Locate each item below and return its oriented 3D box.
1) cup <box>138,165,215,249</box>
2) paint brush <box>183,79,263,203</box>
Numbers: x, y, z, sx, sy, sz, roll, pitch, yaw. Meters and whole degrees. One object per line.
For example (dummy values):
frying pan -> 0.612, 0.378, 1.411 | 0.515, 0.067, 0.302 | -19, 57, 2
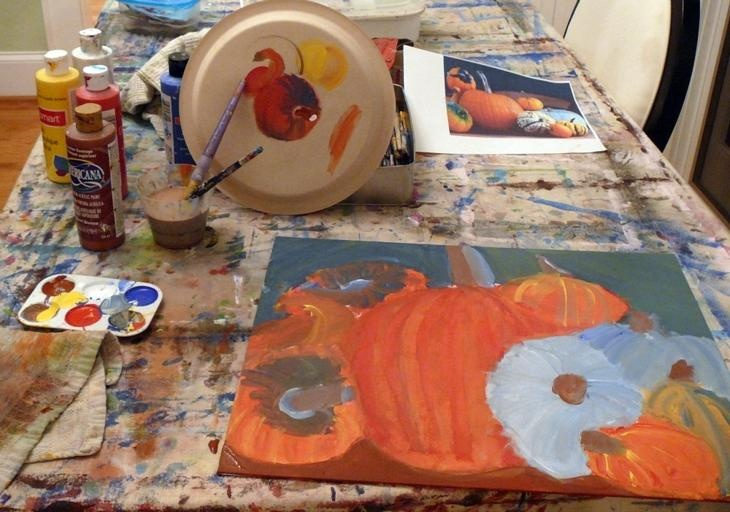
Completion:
cup -> -0.300, -0.072, 0.966 | 0.118, 0.093, 0.122 | 4, 38, -3
paint brush -> -0.229, -0.169, 0.938 | 0.101, 0.193, 0.054 | 22, -2, -21
